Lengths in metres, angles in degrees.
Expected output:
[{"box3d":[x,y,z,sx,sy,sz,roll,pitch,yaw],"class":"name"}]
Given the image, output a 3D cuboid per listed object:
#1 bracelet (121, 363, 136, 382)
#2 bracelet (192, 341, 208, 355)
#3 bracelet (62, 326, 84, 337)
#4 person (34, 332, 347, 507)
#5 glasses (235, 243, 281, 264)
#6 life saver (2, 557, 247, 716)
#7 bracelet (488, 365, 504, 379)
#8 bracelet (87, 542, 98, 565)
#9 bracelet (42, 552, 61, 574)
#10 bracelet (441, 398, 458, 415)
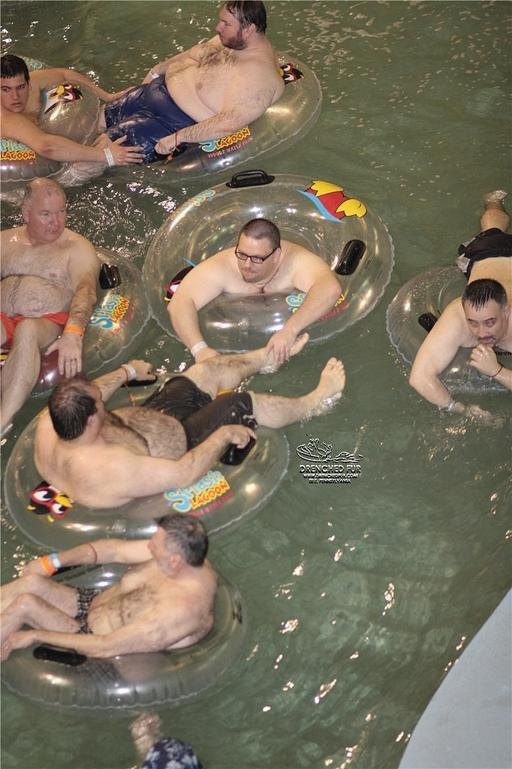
[{"box3d":[-0.688,-0.067,3.671,0.094,0.030,0.085,-17,75,-19],"class":"bracelet"},{"box3d":[-0.333,-0.205,3.937,0.084,0.053,0.082,-6,39,43],"class":"bracelet"},{"box3d":[-1.055,-0.316,3.898,0.075,0.028,0.071,14,23,-35],"class":"bracelet"},{"box3d":[-0.289,0.113,3.293,1.329,0.652,0.697,-27,57,-20],"class":"person"},{"box3d":[0.015,-0.776,3.917,0.153,0.041,0.144,13,28,10],"class":"glasses"},{"box3d":[-0.456,1.008,2.593,0.682,0.161,0.587,-11,29,-24],"class":"life saver"},{"box3d":[1.270,-0.065,3.557,0.052,0.081,0.067,20,38,26],"class":"bracelet"},{"box3d":[-0.719,0.754,2.980,0.024,0.073,0.071,-7,52,-11],"class":"bracelet"},{"box3d":[-0.907,0.803,3.021,0.082,0.099,0.038,19,35,30],"class":"bracelet"},{"box3d":[1.071,0.115,3.698,0.081,0.023,0.080,-36,12,-27],"class":"bracelet"}]
